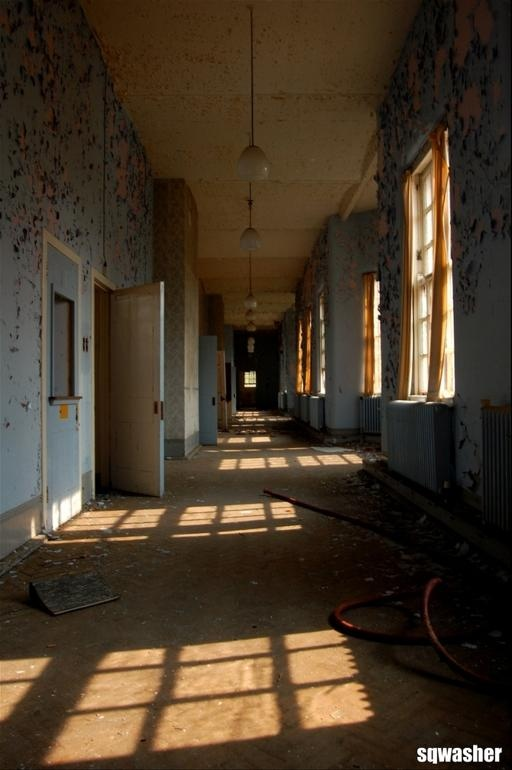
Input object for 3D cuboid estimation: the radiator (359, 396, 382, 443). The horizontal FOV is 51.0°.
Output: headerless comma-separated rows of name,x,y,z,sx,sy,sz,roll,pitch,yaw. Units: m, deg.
radiator,1.932,0.551,9.228,0.332,0.488,0.236,-2,-1,21
